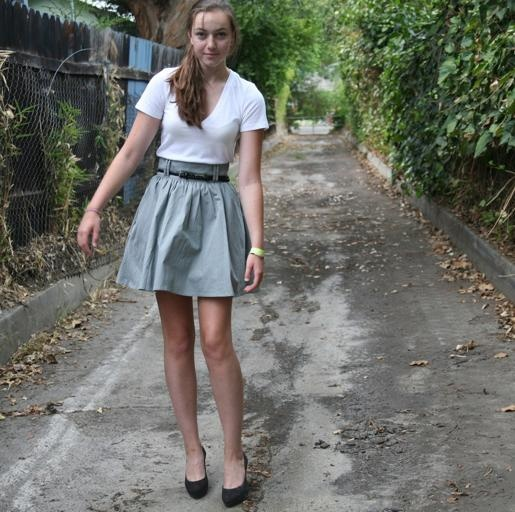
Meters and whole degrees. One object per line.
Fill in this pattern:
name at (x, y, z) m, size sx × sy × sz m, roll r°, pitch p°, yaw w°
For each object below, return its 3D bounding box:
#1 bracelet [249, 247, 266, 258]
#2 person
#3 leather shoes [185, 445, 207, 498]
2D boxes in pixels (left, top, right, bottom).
bracelet at (-0.009, -0.019, 2.417) m, size 0.052 × 0.029 × 0.047 m, roll 9°, pitch -19°, yaw 5°
person at (-0.305, 0.007, 2.451) m, size 0.740 × 2.149 × 0.571 m, roll -2°, pitch 15°, yaw 2°
leather shoes at (-0.279, 0.982, 2.572) m, size 0.071 × 0.198 × 0.064 m, roll 1°, pitch -19°, yaw -12°
